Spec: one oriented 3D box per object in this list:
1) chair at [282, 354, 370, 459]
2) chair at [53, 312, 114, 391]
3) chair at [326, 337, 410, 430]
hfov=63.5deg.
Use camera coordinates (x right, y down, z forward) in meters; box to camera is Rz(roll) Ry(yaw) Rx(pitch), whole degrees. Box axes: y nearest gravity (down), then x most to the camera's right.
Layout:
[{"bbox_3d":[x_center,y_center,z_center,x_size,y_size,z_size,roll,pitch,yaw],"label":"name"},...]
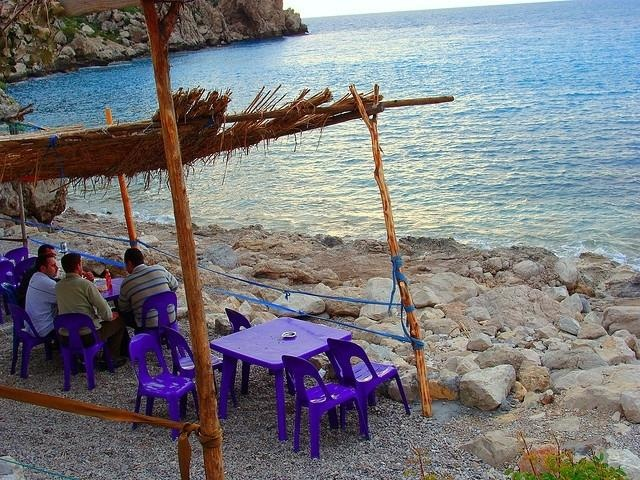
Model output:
[{"bbox_3d":[0.048,1.653,5.495,0.780,1.002,0.969,-6,17,-2],"label":"chair"},{"bbox_3d":[-3.084,1.337,6.601,0.608,0.967,0.819,-12,19,-20],"label":"chair"},{"bbox_3d":[0.550,1.534,5.753,0.759,0.826,0.576,-15,-4,39],"label":"chair"}]
